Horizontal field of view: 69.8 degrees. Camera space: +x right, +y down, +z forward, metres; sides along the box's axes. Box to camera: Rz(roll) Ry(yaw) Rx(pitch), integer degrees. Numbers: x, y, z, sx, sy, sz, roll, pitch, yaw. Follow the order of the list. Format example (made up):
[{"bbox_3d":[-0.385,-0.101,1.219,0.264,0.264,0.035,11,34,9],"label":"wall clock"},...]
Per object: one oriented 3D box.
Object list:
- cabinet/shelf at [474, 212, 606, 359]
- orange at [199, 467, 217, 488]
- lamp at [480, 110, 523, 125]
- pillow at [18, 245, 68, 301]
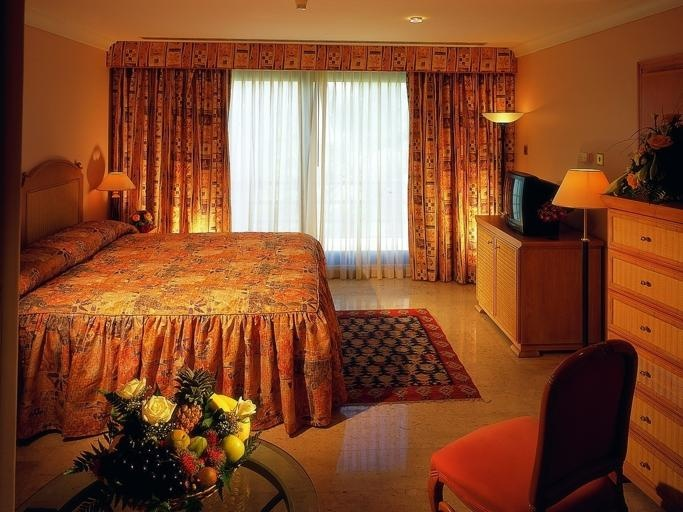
[{"bbox_3d":[1.859,-0.218,4.752,0.847,1.231,2.029,1,8,5],"label":"cabinet/shelf"},{"bbox_3d":[-0.468,0.780,1.720,0.065,0.056,0.052,8,10,24],"label":"orange"},{"bbox_3d":[1.886,-1.639,5.847,0.402,0.150,0.625,2,14,9],"label":"lamp"},{"bbox_3d":[-2.049,0.134,3.367,0.234,0.088,0.502,2,15,-11],"label":"pillow"}]
